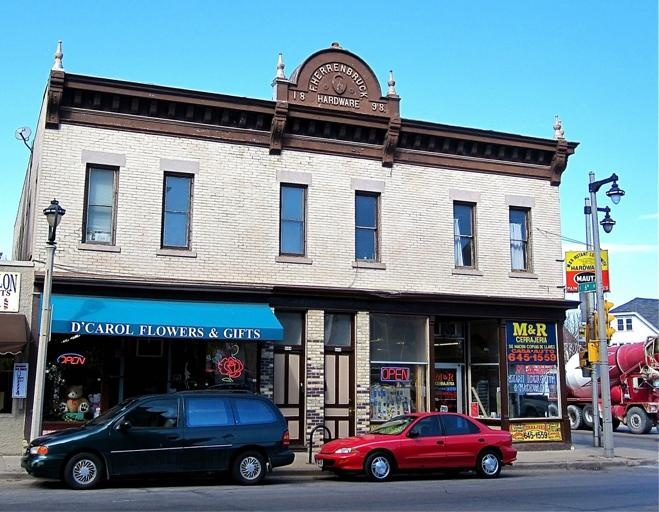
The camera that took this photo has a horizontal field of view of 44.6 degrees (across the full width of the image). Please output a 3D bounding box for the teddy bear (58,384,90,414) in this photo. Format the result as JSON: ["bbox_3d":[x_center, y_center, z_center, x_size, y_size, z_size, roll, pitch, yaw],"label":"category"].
[{"bbox_3d":[-7.028,3.845,22.103,0.808,0.908,0.649,2,-4,-22],"label":"teddy bear"}]

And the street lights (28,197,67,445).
[{"bbox_3d":[-7.084,1.612,19.974,0.712,6.321,0.784,13,16,11],"label":"street lights"}]

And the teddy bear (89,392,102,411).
[{"bbox_3d":[-6.437,4.014,22.034,0.429,0.633,0.218,3,-3,-44],"label":"teddy bear"}]
